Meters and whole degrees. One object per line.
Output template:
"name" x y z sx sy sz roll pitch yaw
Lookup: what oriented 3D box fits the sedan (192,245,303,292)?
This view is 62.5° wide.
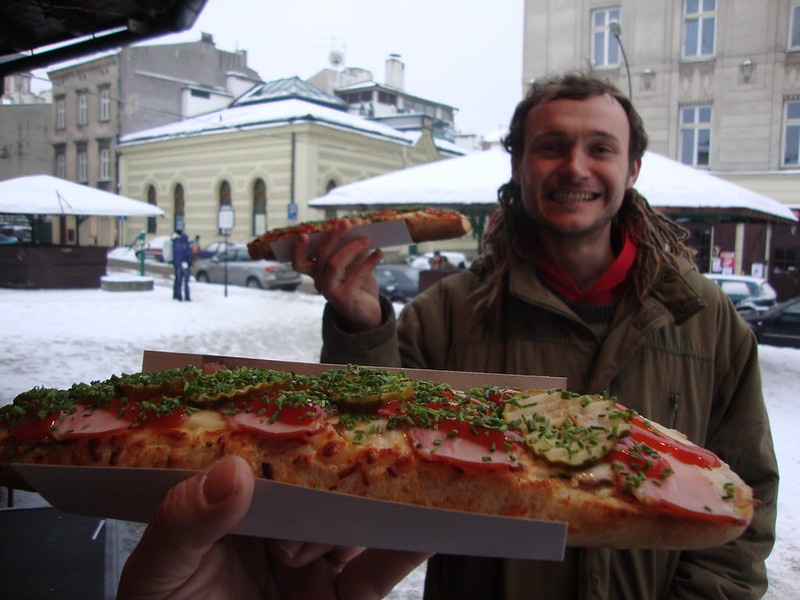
"sedan" -3.881 -0.767 16.568 2.441 1.002 1.232 10 9 22

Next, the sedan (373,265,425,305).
"sedan" -0.142 -0.482 16.860 1.833 0.854 0.594 0 -17 -37

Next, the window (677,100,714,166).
"window" 9.413 -5.202 21.031 0.974 2.119 0.111 7 39 30

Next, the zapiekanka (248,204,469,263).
"zapiekanka" -0.140 -0.263 2.455 0.594 0.126 0.370 -8 4 -13

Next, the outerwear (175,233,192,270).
"outerwear" -5.517 -1.273 16.763 0.506 1.061 0.974 -2 -2 -23

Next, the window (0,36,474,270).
"window" -4.795 -3.242 15.695 8.427 3.842 8.128 -7 11 -43
